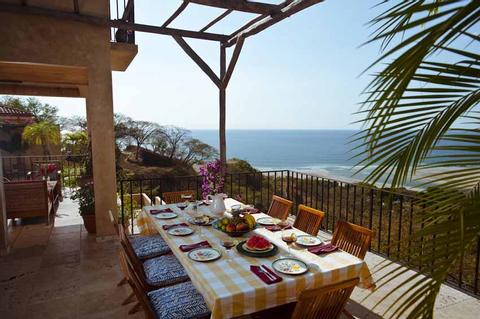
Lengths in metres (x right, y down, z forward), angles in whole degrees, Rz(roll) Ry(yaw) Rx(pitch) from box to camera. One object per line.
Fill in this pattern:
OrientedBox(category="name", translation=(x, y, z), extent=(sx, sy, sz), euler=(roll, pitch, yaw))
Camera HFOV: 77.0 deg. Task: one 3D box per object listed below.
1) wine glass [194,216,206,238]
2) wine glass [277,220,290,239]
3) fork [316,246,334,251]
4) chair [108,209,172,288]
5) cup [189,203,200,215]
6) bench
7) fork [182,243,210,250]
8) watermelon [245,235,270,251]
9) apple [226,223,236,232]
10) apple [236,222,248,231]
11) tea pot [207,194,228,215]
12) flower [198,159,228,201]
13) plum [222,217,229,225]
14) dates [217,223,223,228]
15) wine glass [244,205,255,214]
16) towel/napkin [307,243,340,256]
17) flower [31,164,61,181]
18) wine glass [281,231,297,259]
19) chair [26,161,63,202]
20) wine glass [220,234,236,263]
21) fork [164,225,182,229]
OrientedBox(category="wine glass", translation=(-0.434, 0.721, 3.254), extent=(0.198, 0.234, 0.185), euler=(0, 0, -5))
OrientedBox(category="wine glass", translation=(0.498, 0.795, 3.391), extent=(0.148, 0.214, 0.146), euler=(-1, -3, -9))
OrientedBox(category="fork", translation=(0.826, 0.849, 2.864), extent=(0.106, 0.021, 0.055), euler=(-2, 7, -21))
OrientedBox(category="chair", translation=(-1.208, 1.083, 3.633), extent=(0.769, 0.965, 0.731), euler=(-7, 18, -20))
OrientedBox(category="cup", translation=(-0.594, 0.655, 4.024), extent=(0.153, 0.151, 0.147), euler=(0, 4, 0))
OrientedBox(category="bench", translation=(-3.890, 0.727, 5.550), extent=(0.542, 0.540, 0.916), euler=(-3, 16, -22))
OrientedBox(category="fork", translation=(-0.434, 0.844, 2.921), extent=(0.132, 0.019, 0.093), euler=(-2, 5, -28))
OrientedBox(category="watermelon", translation=(0.158, 0.773, 2.861), extent=(0.152, 0.047, 0.135), euler=(-2, 6, -35))
OrientedBox(category="apple", translation=(-0.093, 0.723, 3.189), extent=(0.076, 0.068, 0.074), euler=(6, -5, 2))
OrientedBox(category="apple", translation=(0.021, 0.707, 3.144), extent=(0.101, 0.051, 0.075), euler=(0, 3, 1))
OrientedBox(category="tea pot", translation=(-0.290, 0.593, 3.954), extent=(0.287, 0.282, 0.221), euler=(-3, -1, 7))
OrientedBox(category="flower", translation=(-0.362, 0.351, 4.581), extent=(0.393, 0.555, 0.354), euler=(-6, 7, 36))
OrientedBox(category="plum", translation=(-0.171, 0.678, 3.306), extent=(0.069, 0.077, 0.068), euler=(24, -22, -17))
OrientedBox(category="dates", translation=(-0.214, 0.718, 3.274), extent=(0.045, 0.038, 0.043), euler=(-2, -5, 16))
OrientedBox(category="wine glass", translation=(0.124, 0.647, 3.896), extent=(0.105, 0.114, 0.100), euler=(0, 3, -5))
OrientedBox(category="towel/napkin", translation=(0.794, 0.853, 2.864), extent=(0.206, 0.039, 0.111), euler=(-3, 10, -25))
OrientedBox(category="flower", translation=(-4.983, 0.353, 7.793), extent=(0.495, 0.281, 0.475), euler=(0, 5, -22))
OrientedBox(category="wine glass", translation=(0.451, 0.779, 2.754), extent=(0.152, 0.215, 0.137), euler=(1, 0, -22))
OrientedBox(category="chair", translation=(-5.012, 0.514, 7.782), extent=(0.804, 0.913, 0.690), euler=(0, 1, -17))
OrientedBox(category="wine glass", translation=(-0.101, 0.798, 2.673), extent=(0.199, 0.211, 0.190), euler=(1, -6, -14))
OrientedBox(category="fork", translation=(-0.763, 0.762, 3.408), extent=(0.230, 0.030, 0.052), euler=(0, 4, -33))
